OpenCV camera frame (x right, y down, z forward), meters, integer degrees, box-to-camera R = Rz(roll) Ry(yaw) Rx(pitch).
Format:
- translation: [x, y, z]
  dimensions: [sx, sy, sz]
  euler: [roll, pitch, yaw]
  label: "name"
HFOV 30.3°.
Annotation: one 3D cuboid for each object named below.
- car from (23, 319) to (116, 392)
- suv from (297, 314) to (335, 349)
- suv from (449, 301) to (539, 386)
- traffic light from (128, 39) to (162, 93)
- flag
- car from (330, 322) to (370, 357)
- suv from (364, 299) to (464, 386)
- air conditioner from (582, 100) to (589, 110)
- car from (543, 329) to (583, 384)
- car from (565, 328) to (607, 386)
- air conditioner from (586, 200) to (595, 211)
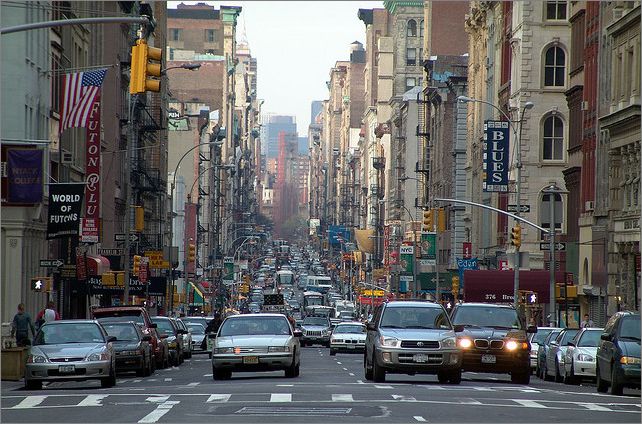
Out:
- translation: [-8.523, 4.978, 42.046]
  dimensions: [2.738, 2.325, 5.690]
  euler: [0, 0, -2]
  label: "car"
- translation: [-0.368, 7.955, 79.613]
  dimensions: [1.826, 1.956, 3.890]
  euler: [0, -9, -1]
  label: "suv"
- translation: [6.353, 4.734, 43.608]
  dimensions: [2.200, 2.342, 5.716]
  euler: [-1, -3, 8]
  label: "suv"
- translation: [-5.977, -4.840, 40.073]
  dimensions: [0.961, 2.079, 1.352]
  euler: [0, 0, -9]
  label: "traffic light"
- translation: [-11.485, -5.462, 56.372]
  dimensions: [2.160, 2.694, 0.608]
  euler: [-3, -5, 17]
  label: "flag"
- translation: [1.655, 6.984, 66.539]
  dimensions: [1.369, 1.163, 3.351]
  euler: [0, -8, -3]
  label: "car"
- translation: [3.270, 4.529, 41.274]
  dimensions: [3.285, 2.945, 2.116]
  euler: [-2, -6, 7]
  label: "suv"
- translation: [16.107, -6.515, 71.945]
  dimensions: [0.378, 0.673, 0.495]
  euler: [2, -1, 0]
  label: "air conditioner"
- translation: [10.259, 5.721, 47.068]
  dimensions: [1.361, 1.995, 2.633]
  euler: [1, 2, 0]
  label: "car"
- translation: [10.545, 5.481, 44.861]
  dimensions: [1.275, 2.182, 2.607]
  euler: [0, 0, 0]
  label: "car"
- translation: [16.049, -0.370, 70.221]
  dimensions: [0.511, 0.730, 0.708]
  euler: [2, -3, -21]
  label: "air conditioner"
